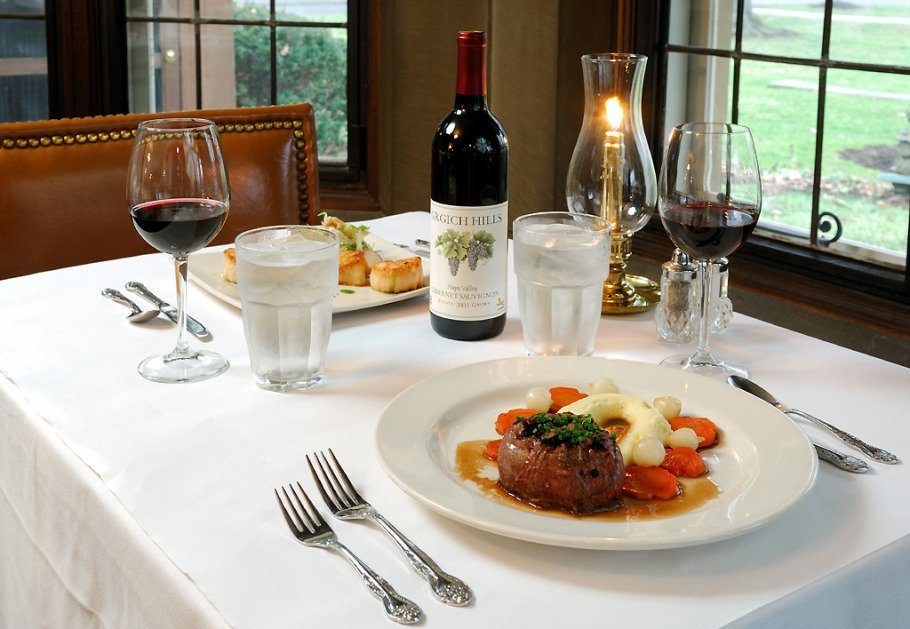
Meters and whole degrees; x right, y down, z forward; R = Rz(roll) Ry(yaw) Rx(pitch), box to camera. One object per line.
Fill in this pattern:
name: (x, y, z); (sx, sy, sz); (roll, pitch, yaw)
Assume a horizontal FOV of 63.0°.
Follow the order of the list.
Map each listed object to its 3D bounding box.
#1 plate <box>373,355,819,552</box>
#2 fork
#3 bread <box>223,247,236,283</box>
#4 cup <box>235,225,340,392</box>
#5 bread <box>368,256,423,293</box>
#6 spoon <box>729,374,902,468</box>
plate: (0.156, 0.144, 0.866); (0.489, 0.048, 0.375); (1, 22, 5)
fork: (-0.100, 0.182, 0.745); (0.095, 0.041, 0.262); (-14, 33, -33)
bread: (-0.400, -0.087, 1.323); (0.021, 0.067, 0.047); (7, -5, -16)
cup: (-0.230, -0.008, 1.024); (0.138, 0.223, 0.145); (1, 25, -1)
bread: (-0.105, -0.085, 1.327); (0.069, 0.043, 0.072); (-7, 12, 0)
spoon: (0.454, 0.136, 0.931); (0.160, 0.025, 0.017); (30, 54, 33)
